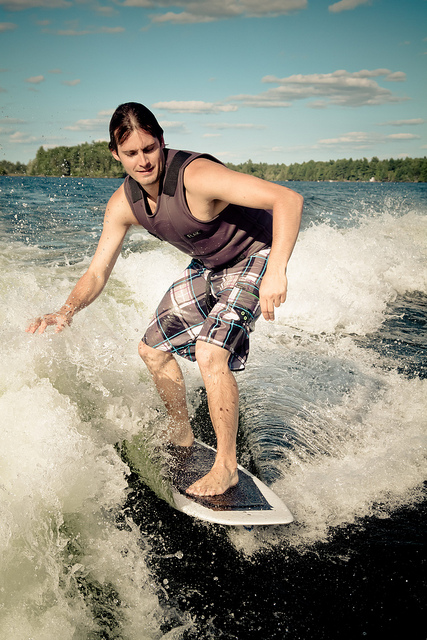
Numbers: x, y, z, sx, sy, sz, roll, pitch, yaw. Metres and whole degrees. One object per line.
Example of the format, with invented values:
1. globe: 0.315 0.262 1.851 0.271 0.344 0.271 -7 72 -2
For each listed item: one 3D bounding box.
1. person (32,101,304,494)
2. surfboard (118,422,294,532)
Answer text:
1. person: -0.050 -0.092 3.050 0.995 1.987 0.818 7 12 13
2. surfboard: -0.075 0.851 3.066 0.372 0.196 1.470 -13 19 -24
